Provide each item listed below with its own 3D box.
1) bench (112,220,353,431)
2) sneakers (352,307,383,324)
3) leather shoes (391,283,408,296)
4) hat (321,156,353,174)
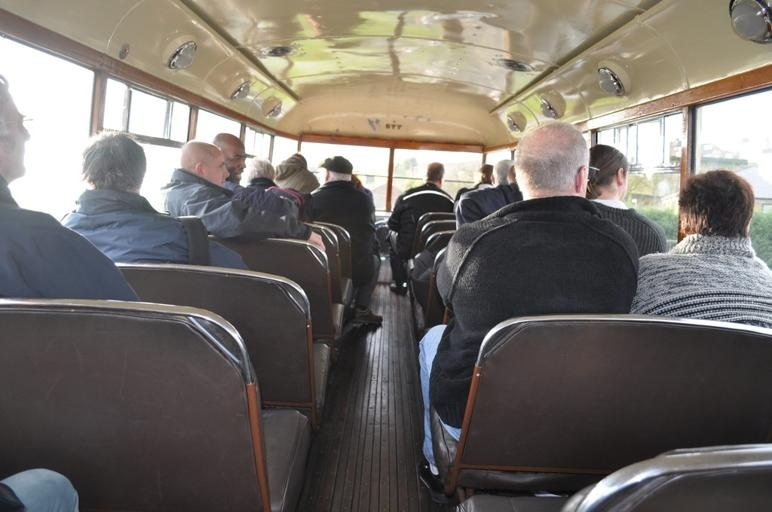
[{"bbox_3d":[-0.797,0.262,3.522,1.300,1.156,1.064,5,19,1],"label":"bench"},{"bbox_3d":[-0.194,0.626,6.176,0.336,0.170,0.139,4,1,-4],"label":"sneakers"},{"bbox_3d":[0.151,0.426,7.688,0.098,0.219,0.255,-3,11,-30],"label":"leather shoes"},{"bbox_3d":[-0.535,-1.013,6.594,0.377,0.218,0.218,3,-1,-22],"label":"hat"}]
